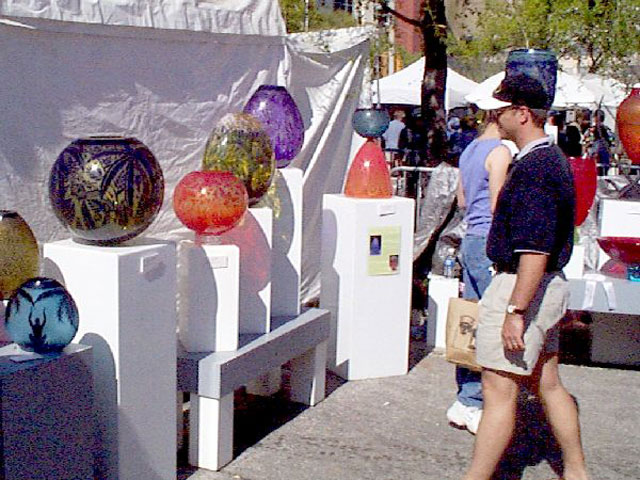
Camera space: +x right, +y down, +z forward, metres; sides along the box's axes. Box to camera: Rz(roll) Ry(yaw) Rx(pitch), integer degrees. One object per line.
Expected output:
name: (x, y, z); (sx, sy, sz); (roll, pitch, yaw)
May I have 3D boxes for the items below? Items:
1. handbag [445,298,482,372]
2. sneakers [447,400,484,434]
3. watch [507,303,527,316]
handbag: (0.854, 0.571, 5.097); (0.243, 0.397, 0.324); (10, -8, -9)
sneakers: (0.927, 1.138, 5.364); (0.275, 0.194, 0.091); (10, -22, 11)
watch: (0.994, 0.361, 4.261); (0.061, 0.035, 0.060); (12, 0, -39)
